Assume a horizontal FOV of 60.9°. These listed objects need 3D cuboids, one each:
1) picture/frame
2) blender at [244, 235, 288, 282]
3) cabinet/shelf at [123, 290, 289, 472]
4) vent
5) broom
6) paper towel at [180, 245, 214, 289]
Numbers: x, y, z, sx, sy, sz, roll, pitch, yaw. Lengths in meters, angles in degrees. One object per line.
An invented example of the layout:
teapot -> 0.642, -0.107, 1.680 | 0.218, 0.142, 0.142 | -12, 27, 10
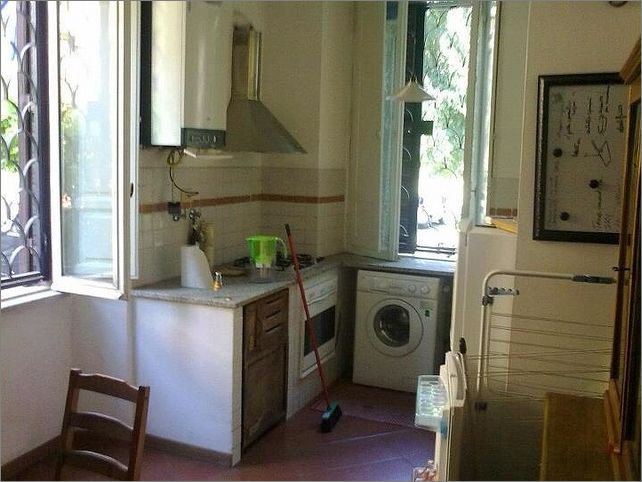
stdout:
picture/frame -> 1.364, -0.452, 2.838 | 0.514, 0.877, 0.051 | 4, 5, 24
blender -> -0.445, 0.114, 4.074 | 0.258, 0.371, 0.308 | 8, 13, 36
cabinet/shelf -> -0.728, 0.749, 3.863 | 0.772, 1.230, 1.034 | 3, 5, 22
vent -> -0.442, -0.843, 4.000 | 0.603, 0.387, 0.349 | 0, 11, -15
broom -> -0.025, 0.628, 4.178 | 0.527, 1.435, 0.373 | 4, 5, 26
paper towel -> -0.852, 0.185, 3.675 | 0.295, 0.321, 0.179 | 2, 4, 10
